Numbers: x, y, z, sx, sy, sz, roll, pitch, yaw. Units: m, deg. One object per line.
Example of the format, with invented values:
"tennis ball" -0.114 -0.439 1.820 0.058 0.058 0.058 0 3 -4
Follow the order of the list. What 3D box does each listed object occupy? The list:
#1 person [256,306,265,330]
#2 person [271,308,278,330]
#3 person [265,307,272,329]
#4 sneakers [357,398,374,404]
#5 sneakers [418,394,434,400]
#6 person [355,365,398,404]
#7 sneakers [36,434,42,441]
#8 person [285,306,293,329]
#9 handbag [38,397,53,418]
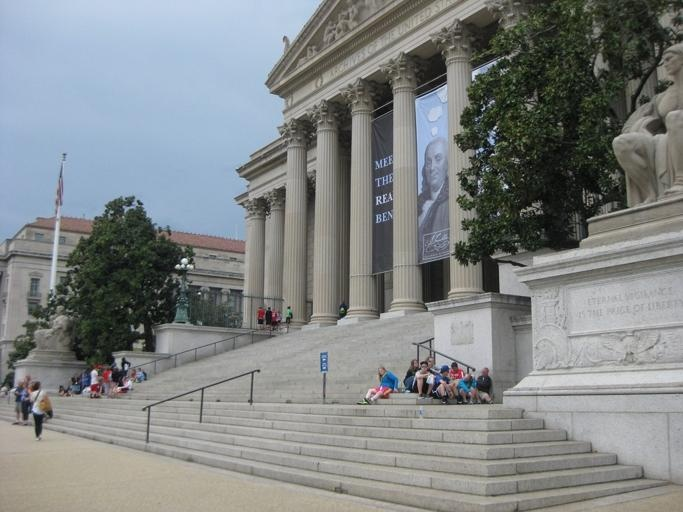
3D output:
"person" -4.433 3.384 42.181 0.414 1.296 1.503 0 -12 -7
"person" -3.600 3.524 41.393 0.325 0.993 0.703 0 -11 -5
"person" -3.895 3.288 41.176 0.395 1.016 0.813 0 -12 -7
"sneakers" 0.586 3.811 20.013 0.485 0.227 0.176 -1 -14 12
"sneakers" 2.115 3.548 19.195 0.337 0.147 0.135 -2 -9 18
"person" 0.908 3.443 20.360 1.237 0.828 0.620 -13 -2 -31
"sneakers" -8.741 5.271 22.106 0.115 0.132 0.313 4 -20 -32
"person" -2.725 3.163 39.692 0.373 1.205 1.001 0 -11 -5
"handbag" -8.719 4.426 22.539 0.293 0.573 0.874 2 -12 -15
